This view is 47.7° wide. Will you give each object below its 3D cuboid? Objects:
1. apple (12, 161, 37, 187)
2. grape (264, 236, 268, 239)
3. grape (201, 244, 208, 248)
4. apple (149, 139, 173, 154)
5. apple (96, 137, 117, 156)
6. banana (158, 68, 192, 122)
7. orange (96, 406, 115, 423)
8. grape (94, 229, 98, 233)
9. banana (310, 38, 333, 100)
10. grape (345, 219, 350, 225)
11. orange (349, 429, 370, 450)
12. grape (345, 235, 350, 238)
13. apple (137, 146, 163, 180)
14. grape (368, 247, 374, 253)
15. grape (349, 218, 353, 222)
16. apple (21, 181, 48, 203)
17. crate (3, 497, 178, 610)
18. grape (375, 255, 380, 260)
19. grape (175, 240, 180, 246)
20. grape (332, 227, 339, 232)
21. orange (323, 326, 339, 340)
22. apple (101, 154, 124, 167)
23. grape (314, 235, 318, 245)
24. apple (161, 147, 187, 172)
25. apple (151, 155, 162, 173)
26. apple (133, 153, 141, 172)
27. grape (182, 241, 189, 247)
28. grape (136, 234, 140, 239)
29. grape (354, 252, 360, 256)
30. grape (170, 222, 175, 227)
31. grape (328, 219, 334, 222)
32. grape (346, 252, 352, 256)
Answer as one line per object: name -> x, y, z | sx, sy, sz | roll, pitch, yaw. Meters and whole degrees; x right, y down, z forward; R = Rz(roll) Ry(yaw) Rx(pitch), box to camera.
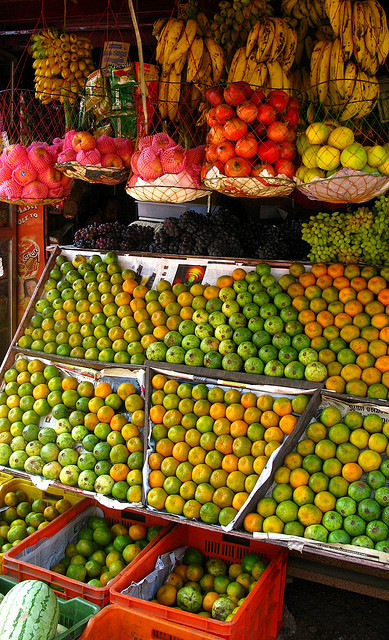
apple -> -0.851, -0.760, 2.266 | 0.106, 0.108, 0.116 | -4, 22, 9
grape -> 0.448, -0.525, 2.760 | 0.020, 0.008, 0.020 | 6, 23, 13
grape -> 0.056, -0.455, 2.674 | 0.016, 0.020, 0.009 | 0, 52, 4
apple -> -0.153, -0.785, 1.963 | 0.079, 0.042, 0.098 | 0, 43, 6
apple -> -0.453, -0.882, 2.267 | 0.099, 0.101, 0.100 | 7, 11, 40
banana -> -0.093, -1.139, 2.239 | 0.086, 0.361, 0.129 | -10, 6, -44
orange -> -0.492, 0.521, 2.425 | 0.081, 0.081, 0.081 | 6, -23, -15
grape -> -0.707, -0.641, 3.141 | 0.025, 0.024, 0.007 | 6, 9, 36
banana -> 0.557, -1.159, 2.005 | 0.066, 0.258, 0.138 | -5, 16, 8
grape -> 0.756, -0.488, 2.176 | 0.004, 0.018, 0.014 | 2, 29, -22
orange -> 0.713, 0.515, 1.902 | 0.078, 0.071, 0.051 | 7, 23, 16
grape -> 0.767, -0.423, 2.203 | 0.025, 0.013, 0.005 | -6, 23, -17
apple -> -0.192, -0.685, 1.914 | 0.098, 0.129, 0.117 | -6, 23, -17
grape -> 0.884, -0.356, 2.203 | 0.025, 0.023, 0.018 | 3, 0, 7
grape -> 0.766, -0.494, 2.154 | 0.014, 0.019, 0.004 | -3, -13, 28
apple -> -0.839, -0.672, 2.276 | 0.097, 0.060, 0.103 | -18, 33, -5
crate -> -0.564, 1.204, 2.281 | 0.574, 0.283, 0.743 | 5, 19, 36
grape -> 0.929, -0.322, 2.234 | 0.023, 0.029, 0.023 | 9, 23, 19
grape -> -0.110, -0.495, 2.803 | 0.029, 0.010, 0.028 | 30, 50, 31
grape -> 0.709, -0.458, 2.215 | 0.031, 0.022, 0.009 | 2, 22, 4
orange -> 0.660, 0.062, 2.126 | 0.060, 0.060, 0.061 | 3, 30, 19
apple -> -0.411, -0.800, 2.194 | 0.126, 0.056, 0.099 | -9, 24, -22
grape -> 0.636, -0.422, 2.301 | 0.019, 0.044, 0.023 | 7, 23, 16
apple -> -0.093, -0.701, 1.940 | 0.090, 0.084, 0.117 | 15, 1, -22
apple -> -0.158, -0.668, 1.873 | 0.043, 0.058, 0.032 | -1, 1, -10
apple -> -0.266, -0.733, 2.013 | 0.032, 0.067, 0.112 | -3, 23, -9
grape -> -0.060, -0.478, 2.725 | 0.028, 0.029, 0.013 | -2, 24, 9
grape -> -0.384, -0.567, 2.964 | 0.021, 0.028, 0.011 | -1, 22, -4
grape -> 0.835, -0.343, 2.260 | 0.023, 0.021, 0.027 | 11, 24, 24
grape -> -0.144, -0.617, 2.820 | 0.019, 0.027, 0.010 | -2, -12, 5
grape -> 0.688, -0.505, 2.218 | 0.029, 0.012, 0.017 | 11, 24, 22
grape -> 0.797, -0.344, 2.271 | 0.025, 0.021, 0.016 | 8, 23, 18
